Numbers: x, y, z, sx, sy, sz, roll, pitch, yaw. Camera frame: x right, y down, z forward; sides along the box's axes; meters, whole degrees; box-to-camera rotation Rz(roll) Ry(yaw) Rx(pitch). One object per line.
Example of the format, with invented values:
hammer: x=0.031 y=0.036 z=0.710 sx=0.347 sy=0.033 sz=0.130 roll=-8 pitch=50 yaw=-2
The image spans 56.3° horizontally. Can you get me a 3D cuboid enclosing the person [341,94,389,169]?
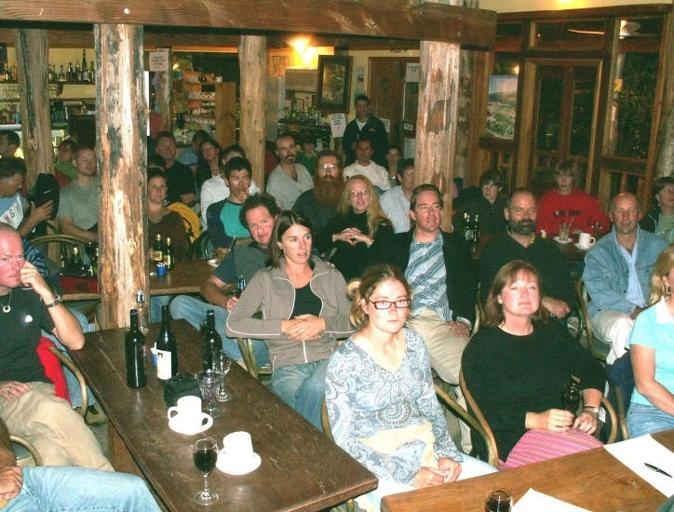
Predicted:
person: x=0.427 y=-1.974 z=10.707 sx=0.785 sy=1.386 sz=0.719 roll=2 pitch=15 yaw=8

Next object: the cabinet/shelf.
cabinet/shelf: x=-2.666 y=-3.051 z=13.563 sx=0.736 sy=1.419 sz=1.456 roll=18 pitch=25 yaw=26

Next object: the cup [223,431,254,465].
cup: x=-0.494 y=0.970 z=3.185 sx=0.154 sy=0.092 sz=0.152 roll=0 pitch=9 yaw=0

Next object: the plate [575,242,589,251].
plate: x=2.484 y=-0.085 z=6.403 sx=0.094 sy=0.028 sz=0.092 roll=-3 pitch=12 yaw=-20

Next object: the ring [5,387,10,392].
ring: x=-2.056 y=0.836 z=3.905 sx=0.023 sy=0.005 sz=0.023 roll=3 pitch=26 yaw=-2
